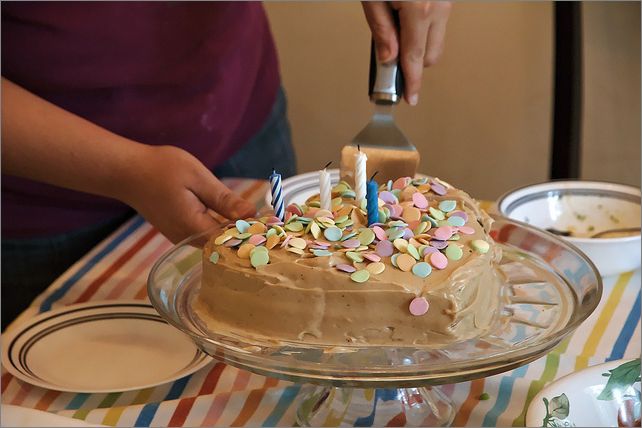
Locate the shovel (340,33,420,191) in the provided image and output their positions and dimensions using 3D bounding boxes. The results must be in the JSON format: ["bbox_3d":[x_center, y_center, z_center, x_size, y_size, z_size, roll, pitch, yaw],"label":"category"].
[{"bbox_3d":[0.171,-0.289,1.699,0.227,0.439,0.293,-11,33,-14],"label":"shovel"}]
